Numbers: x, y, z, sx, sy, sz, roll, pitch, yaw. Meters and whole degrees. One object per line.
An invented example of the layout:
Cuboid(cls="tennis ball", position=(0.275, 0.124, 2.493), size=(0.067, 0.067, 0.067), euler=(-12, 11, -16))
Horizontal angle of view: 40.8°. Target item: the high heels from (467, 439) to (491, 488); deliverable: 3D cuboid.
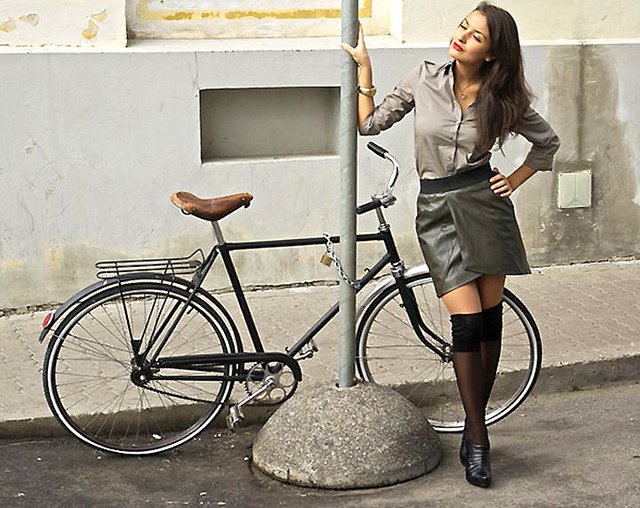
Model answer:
Cuboid(cls="high heels", position=(0.821, 1.084, 4.478), size=(0.135, 0.225, 0.126), euler=(-2, 10, 11))

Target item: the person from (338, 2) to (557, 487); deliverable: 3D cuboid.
Cuboid(cls="person", position=(0.678, -0.037, 4.489), size=(0.832, 2.438, 0.498), euler=(-1, 11, 14))

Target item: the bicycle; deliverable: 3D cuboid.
Cuboid(cls="bicycle", position=(-0.131, 0.343, 4.997), size=(2.892, 1.509, 0.883), euler=(0, 2, -16))
